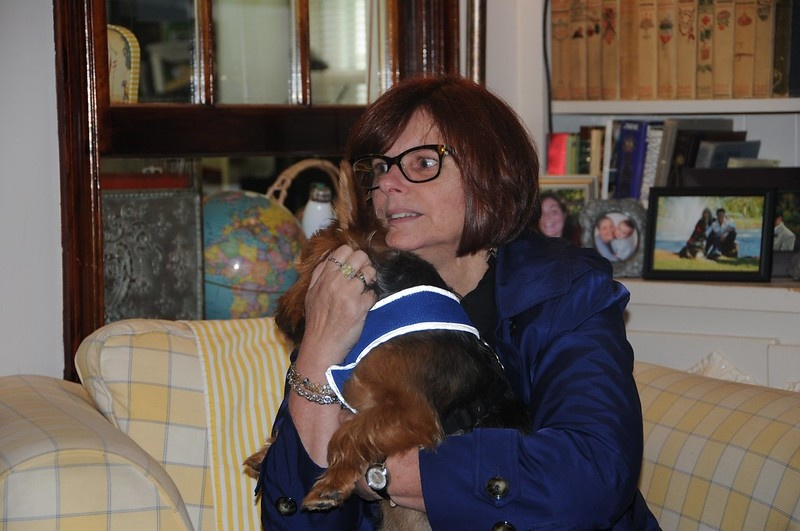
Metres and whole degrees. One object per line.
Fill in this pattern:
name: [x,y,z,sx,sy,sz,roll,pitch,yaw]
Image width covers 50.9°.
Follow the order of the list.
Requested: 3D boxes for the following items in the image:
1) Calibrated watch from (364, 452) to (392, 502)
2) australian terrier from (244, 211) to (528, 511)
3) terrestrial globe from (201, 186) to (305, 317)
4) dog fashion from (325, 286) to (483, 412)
Calibrated watch: [-0.055,0.539,2.147,0.067,0.120,0.042,-1,10,-2]
australian terrier: [0.009,0.242,2.402,0.785,0.894,0.617,8,15,15]
terrestrial globe: [-0.482,-0.010,3.049,0.370,0.499,0.409,0,-8,27]
dog fashion: [0.009,0.204,2.249,0.350,0.272,0.293,2,-3,38]
